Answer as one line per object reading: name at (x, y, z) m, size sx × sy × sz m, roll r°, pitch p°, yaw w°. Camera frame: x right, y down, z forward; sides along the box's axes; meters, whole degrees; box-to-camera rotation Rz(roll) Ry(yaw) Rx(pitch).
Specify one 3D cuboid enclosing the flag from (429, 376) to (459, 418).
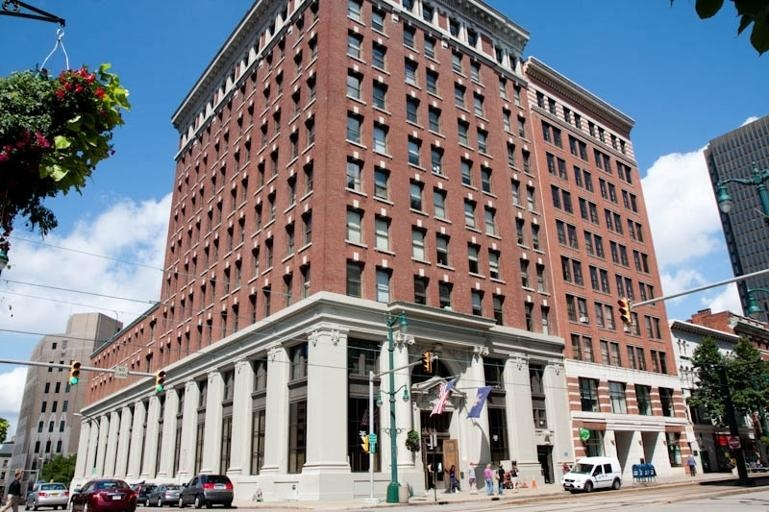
flag at (4.584, 10.689, 43.103) m, size 1.541 × 3.323 × 4.866 m, roll -5°, pitch -27°, yaw 8°

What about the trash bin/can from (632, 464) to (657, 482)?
trash bin/can at (21.456, 17.960, 46.253) m, size 1.339 × 1.439 × 2.394 m, roll -18°, pitch -31°, yaw 30°

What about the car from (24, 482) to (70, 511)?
car at (-25.447, 18.071, 42.207) m, size 2.129 × 2.000 × 3.555 m, roll 19°, pitch -33°, yaw -35°

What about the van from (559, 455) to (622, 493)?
van at (16.034, 16.738, 42.957) m, size 5.339 × 2.622 × 1.262 m, roll 15°, pitch -30°, yaw -28°

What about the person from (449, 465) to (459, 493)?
person at (5.309, 17.213, 43.446) m, size 0.625 × 1.951 × 0.935 m, roll -3°, pitch -27°, yaw 5°

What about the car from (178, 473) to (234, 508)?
car at (-11.706, 15.384, 36.716) m, size 1.670 × 2.101 × 4.148 m, roll 21°, pitch -34°, yaw -37°
